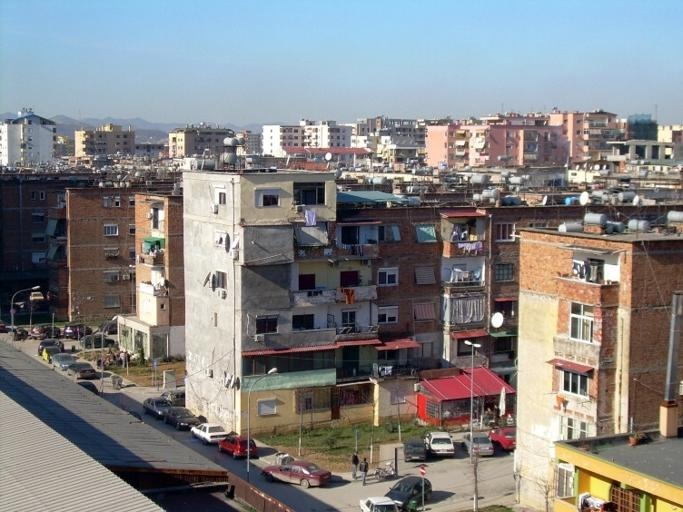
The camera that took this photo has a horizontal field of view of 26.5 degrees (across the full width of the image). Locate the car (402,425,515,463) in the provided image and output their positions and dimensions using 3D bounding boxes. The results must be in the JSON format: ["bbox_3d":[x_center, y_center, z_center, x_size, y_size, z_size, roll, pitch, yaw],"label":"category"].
[{"bbox_3d":[7.496,11.218,87.980,6.285,1.573,3.261,-2,3,-7],"label":"car"}]

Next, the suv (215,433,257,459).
[{"bbox_3d":[-6.358,11.297,86.770,1.226,0.919,2.227,0,10,-39],"label":"suv"}]
